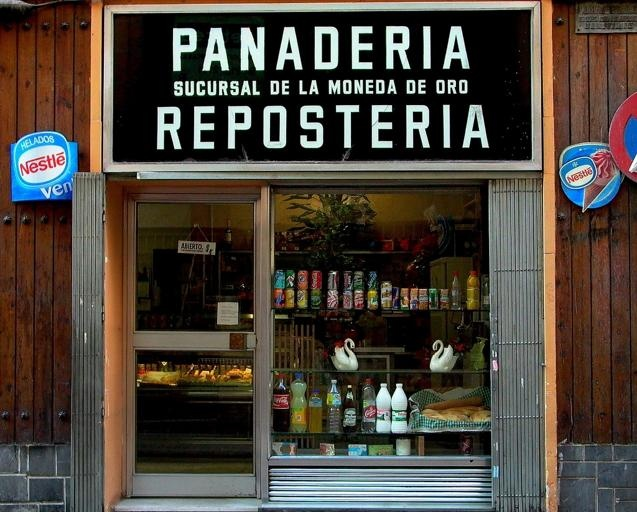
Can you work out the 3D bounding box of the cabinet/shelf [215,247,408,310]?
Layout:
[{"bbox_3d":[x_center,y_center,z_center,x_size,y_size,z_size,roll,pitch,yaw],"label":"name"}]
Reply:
[{"bbox_3d":[0.164,0.433,13.661,1.104,0.441,0.351,0,-40,-1],"label":"cabinet/shelf"}]

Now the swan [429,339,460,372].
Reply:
[{"bbox_3d":[1.126,0.910,13.415,0.285,0.325,0.198,-3,-8,5],"label":"swan"}]

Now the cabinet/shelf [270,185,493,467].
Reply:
[{"bbox_3d":[0.581,0.689,13.417,2.157,3.095,0.975,0,-1,-2],"label":"cabinet/shelf"}]

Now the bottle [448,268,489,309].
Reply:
[{"bbox_3d":[1.372,0.308,13.469,0.321,0.501,0.168,0,0,20],"label":"bottle"}]

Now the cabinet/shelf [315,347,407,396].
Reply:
[{"bbox_3d":[0.420,1.056,13.698,0.672,0.405,0.427,-2,-2,5],"label":"cabinet/shelf"}]

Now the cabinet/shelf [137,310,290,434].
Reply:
[{"bbox_3d":[-1.107,1.160,13.360,1.048,0.927,0.287,0,-10,-8],"label":"cabinet/shelf"}]
